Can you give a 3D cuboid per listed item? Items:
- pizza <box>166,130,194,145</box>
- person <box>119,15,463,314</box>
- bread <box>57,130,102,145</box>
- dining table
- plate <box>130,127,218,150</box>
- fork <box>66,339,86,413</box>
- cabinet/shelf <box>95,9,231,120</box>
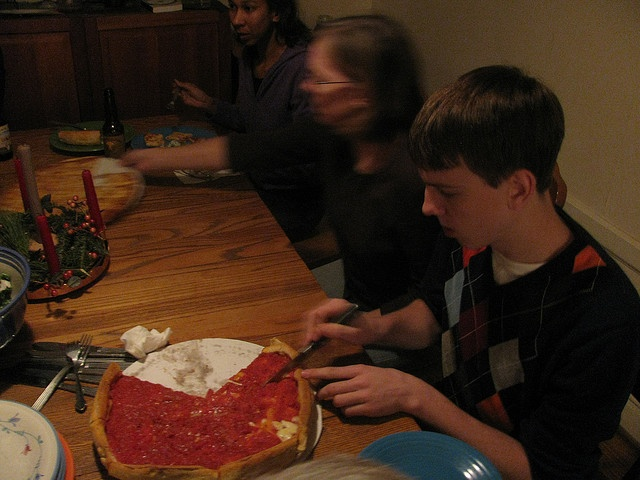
[{"bbox_3d":[-0.798,-0.576,2.859,0.135,0.035,0.116,-7,31,-19],"label":"pizza"},{"bbox_3d":[-0.105,-0.293,1.986,0.741,1.385,0.980,-8,26,34],"label":"person"},{"bbox_3d":[-1.320,-0.552,2.739,0.188,0.053,0.094,-2,4,-1],"label":"bread"},{"bbox_3d":[-0.513,0.124,1.963,1.080,0.375,1.612,-9,42,-20],"label":"dining table"},{"bbox_3d":[-0.823,-0.571,2.820,0.223,0.021,0.224,22,33,38],"label":"plate"},{"bbox_3d":[-0.730,0.375,1.497,0.057,0.036,0.317,-5,39,-24],"label":"fork"},{"bbox_3d":[-1.269,-1.408,4.311,1.174,0.844,0.370,0,13,7],"label":"cabinet/shelf"}]
